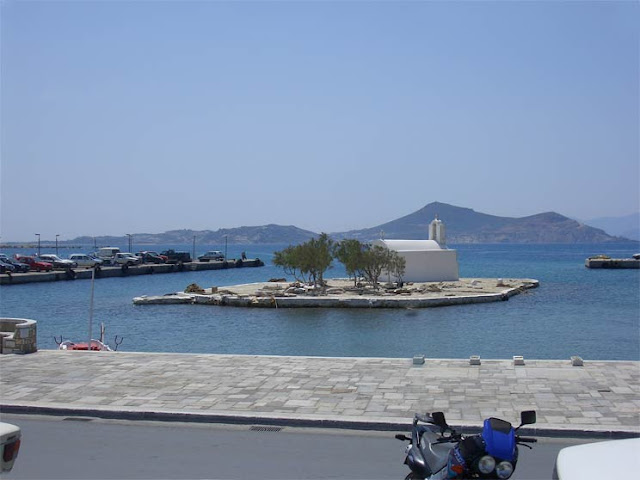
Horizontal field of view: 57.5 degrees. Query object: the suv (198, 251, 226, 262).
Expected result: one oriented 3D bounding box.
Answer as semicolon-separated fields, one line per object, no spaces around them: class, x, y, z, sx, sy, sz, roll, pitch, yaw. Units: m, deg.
suv;-19.496;2.763;106.314;4.015;1.315;2.153;2;-1;-2
